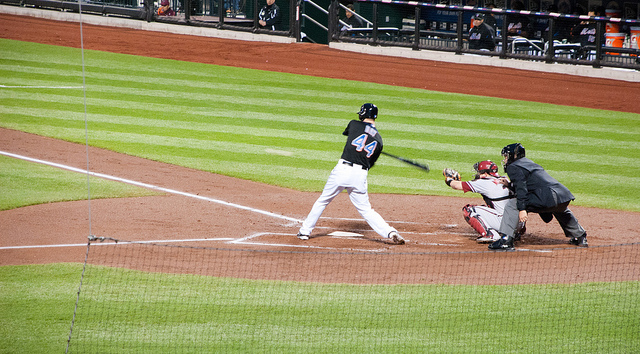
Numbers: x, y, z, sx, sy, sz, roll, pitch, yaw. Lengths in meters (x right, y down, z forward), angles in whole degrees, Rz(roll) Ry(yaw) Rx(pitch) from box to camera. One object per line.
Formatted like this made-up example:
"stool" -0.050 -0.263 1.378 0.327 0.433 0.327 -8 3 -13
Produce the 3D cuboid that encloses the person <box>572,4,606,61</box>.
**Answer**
"person" 9.301 -4.924 38.385 1.578 1.876 0.682 7 13 17

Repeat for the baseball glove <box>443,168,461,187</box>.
"baseball glove" 3.249 -0.009 27.487 0.386 0.394 0.223 5 25 34

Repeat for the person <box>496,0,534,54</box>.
"person" 7.266 -5.293 39.592 1.468 1.798 0.626 4 20 24

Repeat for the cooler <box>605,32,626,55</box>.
"cooler" 10.045 -4.695 38.397 0.659 0.465 0.628 8 12 11

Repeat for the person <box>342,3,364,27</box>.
"person" 1.250 -6.035 42.024 0.609 0.834 0.951 -30 28 -35

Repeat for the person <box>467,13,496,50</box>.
"person" 5.694 -5.064 39.455 0.917 1.055 1.244 -6 18 -11

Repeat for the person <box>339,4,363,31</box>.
"person" 1.196 -5.925 41.964 0.860 0.985 0.581 7 13 2

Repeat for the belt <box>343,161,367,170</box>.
"belt" 0.834 -0.277 26.925 0.592 0.147 0.068 4 14 -3
